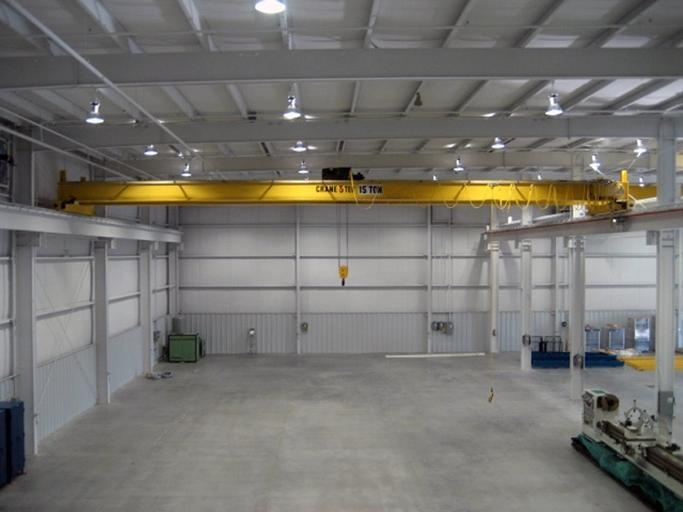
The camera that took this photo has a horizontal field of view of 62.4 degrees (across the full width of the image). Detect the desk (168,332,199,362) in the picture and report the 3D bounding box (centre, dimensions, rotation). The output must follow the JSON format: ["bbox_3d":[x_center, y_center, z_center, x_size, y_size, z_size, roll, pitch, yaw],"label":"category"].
[{"bbox_3d":[-7.754,4.468,27.651,1.257,1.258,1.288,1,-2,-4],"label":"desk"}]
